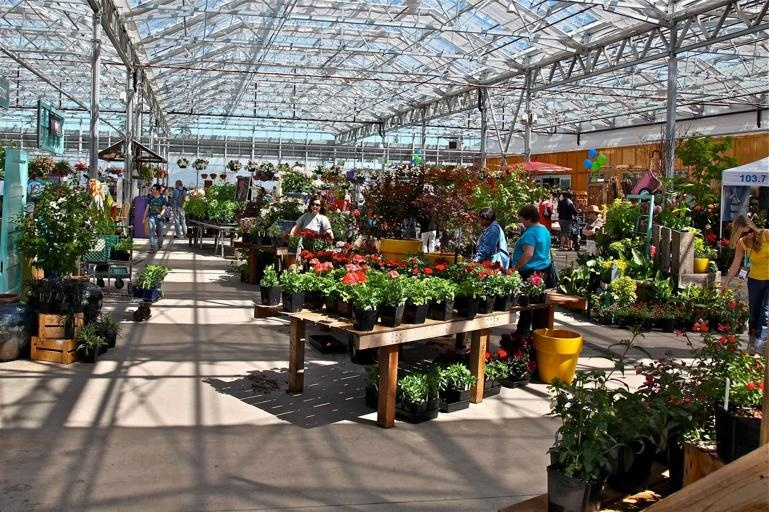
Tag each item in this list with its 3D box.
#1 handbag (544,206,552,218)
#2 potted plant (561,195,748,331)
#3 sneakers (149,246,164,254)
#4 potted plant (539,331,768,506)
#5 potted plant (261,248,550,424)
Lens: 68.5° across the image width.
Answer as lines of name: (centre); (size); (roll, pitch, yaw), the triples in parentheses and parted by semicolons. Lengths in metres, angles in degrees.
handbag: (4.522, -1.216, 15.587); (0.250, 0.260, 0.280); (4, 2, -7)
potted plant: (4.185, -0.012, 9.091); (2.585, 1.154, 3.137); (1, 7, 2)
sneakers: (-5.956, -0.180, 14.612); (0.175, 0.219, 0.530); (-2, -6, -4)
potted plant: (1.350, 0.880, 3.508); (1.472, 0.886, 1.119); (1, -1, -11)
potted plant: (0.101, 0.705, 4.927); (2.327, 1.287, 1.040); (0, 10, -15)
